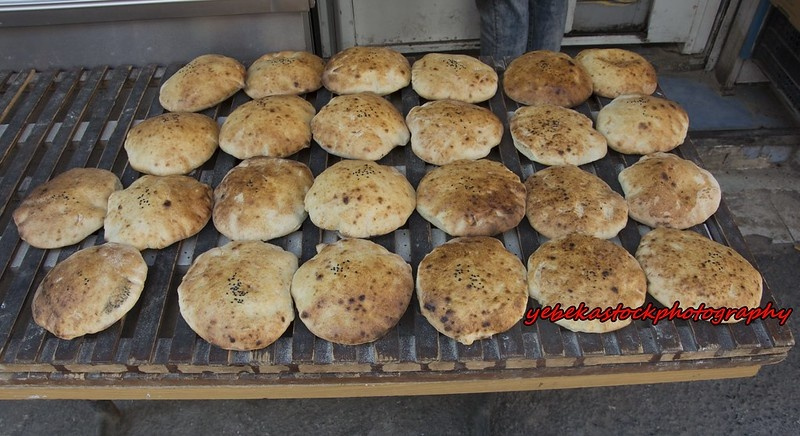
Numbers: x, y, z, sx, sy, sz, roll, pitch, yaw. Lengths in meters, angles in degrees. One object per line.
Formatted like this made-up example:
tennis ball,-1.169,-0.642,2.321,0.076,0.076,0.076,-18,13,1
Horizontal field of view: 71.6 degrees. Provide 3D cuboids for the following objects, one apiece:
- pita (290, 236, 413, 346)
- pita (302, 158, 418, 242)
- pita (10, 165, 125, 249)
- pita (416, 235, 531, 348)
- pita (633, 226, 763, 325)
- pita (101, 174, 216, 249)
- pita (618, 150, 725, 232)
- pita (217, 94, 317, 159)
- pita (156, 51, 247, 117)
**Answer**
pita,-0.370,0.524,4.082,0.827,0.214,0.786,24,62,15
pita,-0.299,-0.158,4.389,0.808,0.255,0.683,20,61,13
pita,-2.623,-0.075,4.398,0.672,0.172,0.685,38,65,26
pita,0.538,0.513,4.102,0.821,0.230,0.751,-20,60,-11
pita,2.246,0.379,4.162,0.881,0.161,0.639,2,58,3
pita,-1.906,-0.044,4.366,0.819,0.186,0.567,-6,59,-3
pita,2.162,-0.276,4.507,0.827,0.222,0.787,-8,45,4
pita,-1.106,-0.745,4.643,0.653,0.157,0.592,-20,49,-11
pita,-1.785,-1.145,5.003,0.653,0.211,0.580,-10,44,11
